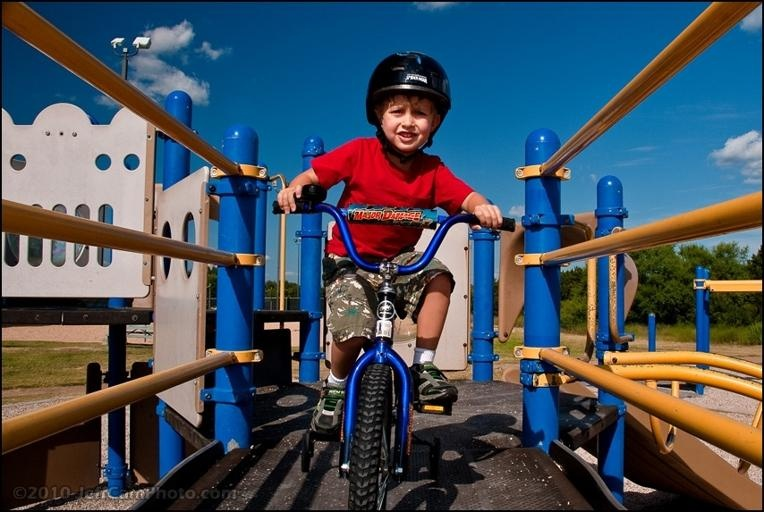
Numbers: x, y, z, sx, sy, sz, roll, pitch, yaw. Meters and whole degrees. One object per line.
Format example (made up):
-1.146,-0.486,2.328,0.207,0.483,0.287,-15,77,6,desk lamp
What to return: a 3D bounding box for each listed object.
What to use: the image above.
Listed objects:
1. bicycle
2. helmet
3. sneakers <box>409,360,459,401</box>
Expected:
0.006,0.489,3.809,0.964,1.863,0.606,0,-7,-9,bicycle
0.216,-1.104,4.407,0.490,0.464,0.607,7,-1,8,helmet
0.296,0.741,3.913,0.219,0.230,0.485,-6,-4,-19,sneakers
